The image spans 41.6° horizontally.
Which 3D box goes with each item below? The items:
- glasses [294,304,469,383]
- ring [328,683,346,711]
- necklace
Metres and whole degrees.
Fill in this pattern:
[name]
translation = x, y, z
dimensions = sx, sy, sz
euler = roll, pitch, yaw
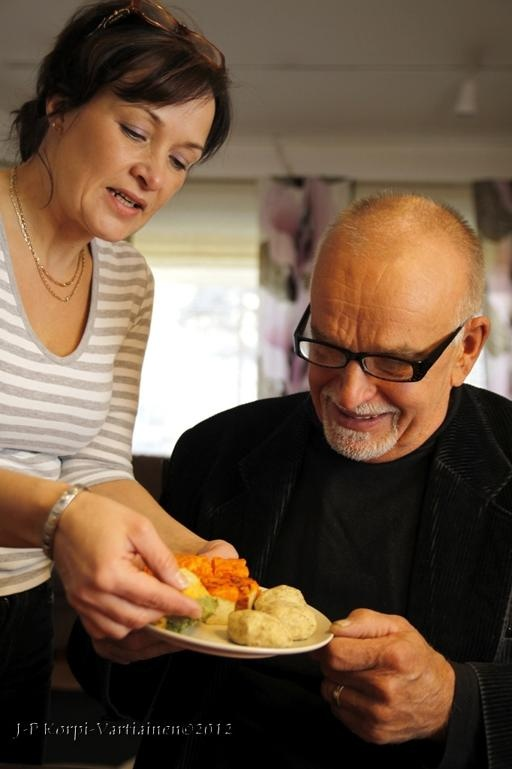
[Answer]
[glasses]
translation = 0.188, -0.069, 1.115
dimensions = 0.288, 0.083, 0.169
euler = 4, 2, 22
[ring]
translation = 0.096, 0.372, 0.800
dimensions = 0.022, 0.022, 0.018
euler = 17, -14, -37
[necklace]
translation = -0.340, -0.245, 1.093
dimensions = 0.036, 0.185, 0.133
euler = 1, 13, 29
